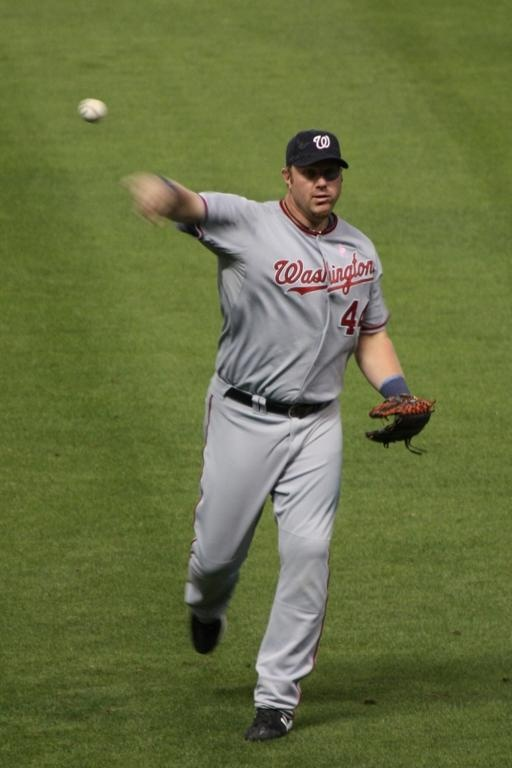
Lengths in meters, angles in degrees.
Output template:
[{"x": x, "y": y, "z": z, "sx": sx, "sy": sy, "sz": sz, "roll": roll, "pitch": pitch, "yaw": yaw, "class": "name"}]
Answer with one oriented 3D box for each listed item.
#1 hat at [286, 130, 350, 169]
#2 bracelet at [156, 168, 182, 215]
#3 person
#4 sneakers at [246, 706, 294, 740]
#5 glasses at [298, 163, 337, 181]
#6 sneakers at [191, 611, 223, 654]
[{"x": 0.226, "y": -0.923, "z": 4.231, "sx": 0.161, "sy": 0.116, "sz": 0.222, "roll": 0, "pitch": 1, "yaw": -18, "class": "hat"}, {"x": -0.319, "y": -0.722, "z": 3.907, "sx": 0.079, "sy": 0.107, "sz": 0.173, "roll": 5, "pitch": 39, "yaw": -6, "class": "bracelet"}, {"x": 0.196, "y": 0.242, "z": 4.421, "sx": 1.095, "sy": 2.218, "sz": 1.443, "roll": -17, "pitch": 47, "yaw": -28, "class": "person"}, {"x": 0.049, "y": 1.314, "z": 4.089, "sx": 0.178, "sy": 0.135, "sz": 0.141, "roll": 9, "pitch": 39, "yaw": -1, "class": "sneakers"}, {"x": 0.251, "y": -0.831, "z": 4.168, "sx": 0.080, "sy": 0.032, "sz": 0.112, "roll": -3, "pitch": -1, "yaw": -10, "class": "glasses"}, {"x": -0.242, "y": 1.161, "z": 4.948, "sx": 0.122, "sy": 0.223, "sz": 0.089, "roll": -2, "pitch": 28, "yaw": -1, "class": "sneakers"}]
